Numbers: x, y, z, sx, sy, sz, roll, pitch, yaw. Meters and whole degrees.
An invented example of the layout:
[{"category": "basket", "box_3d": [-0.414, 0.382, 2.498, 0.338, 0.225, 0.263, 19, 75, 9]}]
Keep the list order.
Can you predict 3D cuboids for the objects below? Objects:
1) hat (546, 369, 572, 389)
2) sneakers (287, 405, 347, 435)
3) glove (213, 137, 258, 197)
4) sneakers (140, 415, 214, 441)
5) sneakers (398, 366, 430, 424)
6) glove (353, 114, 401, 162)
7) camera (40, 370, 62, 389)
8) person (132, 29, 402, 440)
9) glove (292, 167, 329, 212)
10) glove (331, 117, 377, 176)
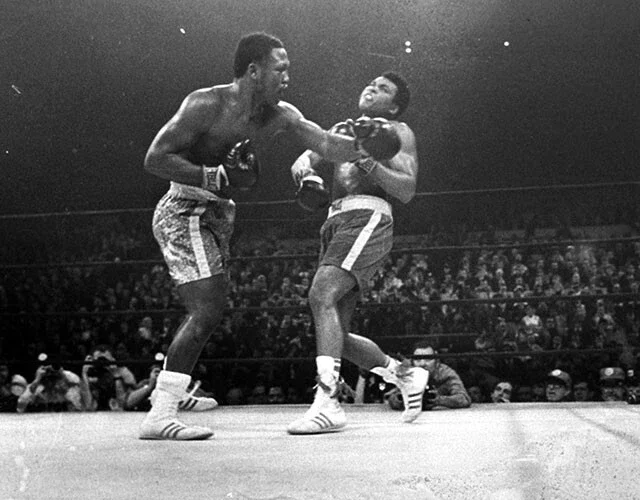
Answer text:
[{"category": "hat", "box_3d": [1.356, 0.730, 3.393, 0.117, 0.101, 0.077, -2, -9, 24]}, {"category": "sneakers", "box_3d": [0.003, 0.599, 2.103, 0.228, 0.092, 0.080, 4, -12, -25]}, {"category": "glove", "box_3d": [-0.296, -0.285, 2.124, 0.125, 0.167, 0.228, 15, -12, -16]}, {"category": "sneakers", "box_3d": [-0.478, 0.589, 1.997, 0.253, 0.103, 0.086, 1, -12, 0]}, {"category": "sneakers", "box_3d": [0.369, 0.587, 2.419, 0.109, 0.247, 0.081, 5, -42, 7]}, {"category": "glove", "box_3d": [0.242, -0.468, 2.422, 0.209, 0.122, 0.158, 21, -29, 26]}, {"category": "camera", "box_3d": [-1.574, 0.749, 3.467, 0.074, 0.110, 0.147, 0, -8, 7]}, {"category": "person", "box_3d": [-0.284, -0.072, 2.089, 0.614, 1.419, 0.286, 2, -8, -1]}, {"category": "glove", "box_3d": [-0.038, -0.241, 2.456, 0.123, 0.148, 0.136, 2, 17, 3]}, {"category": "glove", "box_3d": [0.080, -0.425, 2.429, 0.272, 0.189, 0.206, 0, -11, -13]}]
